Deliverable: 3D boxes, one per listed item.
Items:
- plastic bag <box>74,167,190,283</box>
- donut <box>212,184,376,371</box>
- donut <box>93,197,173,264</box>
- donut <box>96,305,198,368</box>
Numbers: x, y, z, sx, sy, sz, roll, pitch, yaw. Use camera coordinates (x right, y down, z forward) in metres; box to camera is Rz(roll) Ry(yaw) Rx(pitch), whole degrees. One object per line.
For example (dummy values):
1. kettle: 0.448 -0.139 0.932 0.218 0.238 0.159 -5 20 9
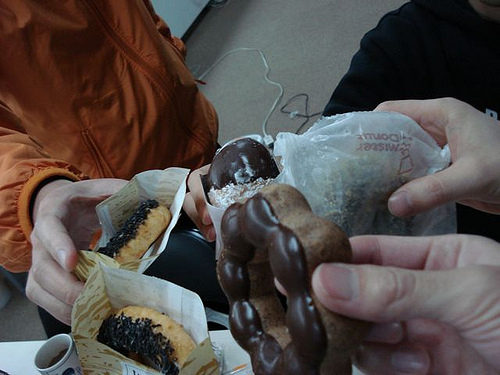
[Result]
1. plastic bag: -0.322 0.119 1.275 0.221 0.128 0.360 25 42 4
2. donut: 0.096 0.121 0.913 0.120 0.341 0.320 -18 36 -30
3. donut: -0.324 0.141 1.308 0.106 0.081 0.234 27 62 19
4. donut: -0.244 0.352 1.092 0.147 0.163 0.055 20 60 12
